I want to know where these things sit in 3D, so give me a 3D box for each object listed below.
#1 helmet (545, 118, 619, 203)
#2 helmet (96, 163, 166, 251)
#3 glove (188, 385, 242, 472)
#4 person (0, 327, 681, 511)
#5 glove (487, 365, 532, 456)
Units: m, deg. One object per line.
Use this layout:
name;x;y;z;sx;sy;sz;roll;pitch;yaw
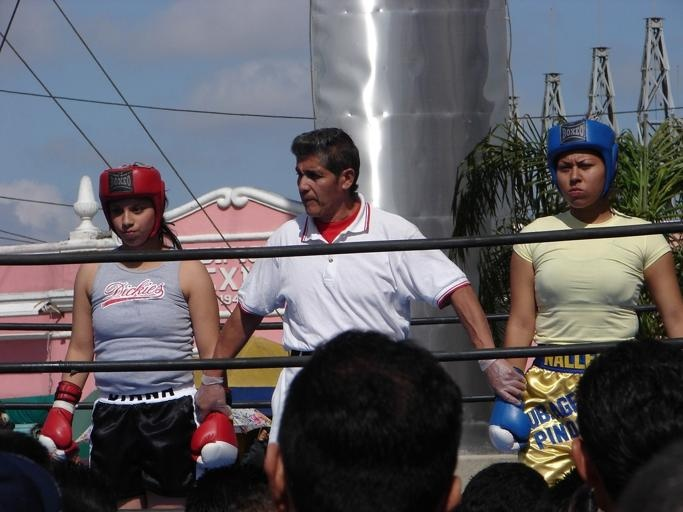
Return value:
helmet;1.119;-0.453;5.903;0.302;0.304;0.352;-9;-15;13
helmet;-1.034;-0.276;6.222;0.345;0.368;0.390;-2;0;-11
glove;-0.590;0.826;5.792;0.286;0.167;0.374;-15;33;6
person;-0.106;0.477;5.334;2.669;0.300;0.790;-5;10;2
glove;0.766;0.739;5.681;0.228;0.350;0.142;-2;-9;9
